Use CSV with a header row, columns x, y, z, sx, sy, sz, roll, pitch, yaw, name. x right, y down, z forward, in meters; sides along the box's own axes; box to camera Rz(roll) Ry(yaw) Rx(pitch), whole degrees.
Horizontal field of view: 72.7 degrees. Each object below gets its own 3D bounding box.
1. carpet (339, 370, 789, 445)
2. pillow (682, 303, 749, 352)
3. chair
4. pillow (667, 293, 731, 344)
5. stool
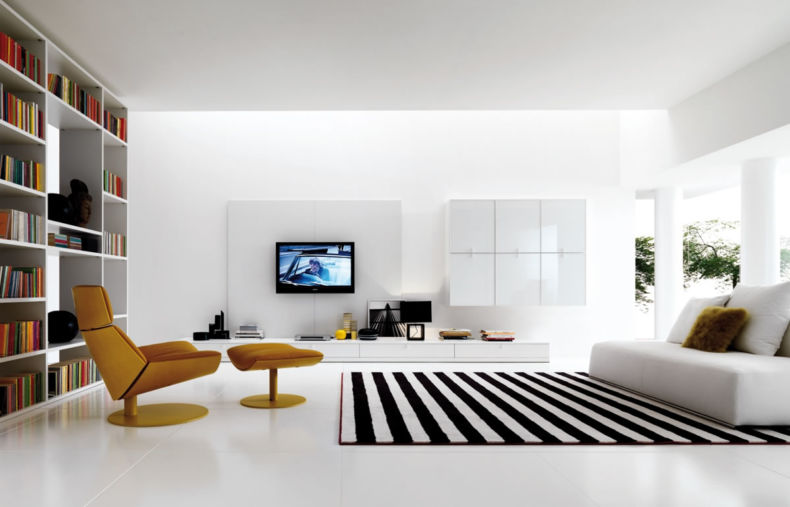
x,y,z,sx,sy,sz,roll,pitch,yaw,name
1.335,1.661,6.102,3.967,0.315,2.475,0,9,-1,carpet
3.577,0.842,5.971,0.166,0.492,0.504,31,-5,-24,pillow
-2.622,1.044,5.735,1.381,1.371,1.210,2,-5,-31,chair
3.629,0.805,6.518,0.211,0.600,0.654,24,-14,-1,pillow
-1.352,1.360,6.046,0.864,0.568,1.028,6,-8,-37,stool
